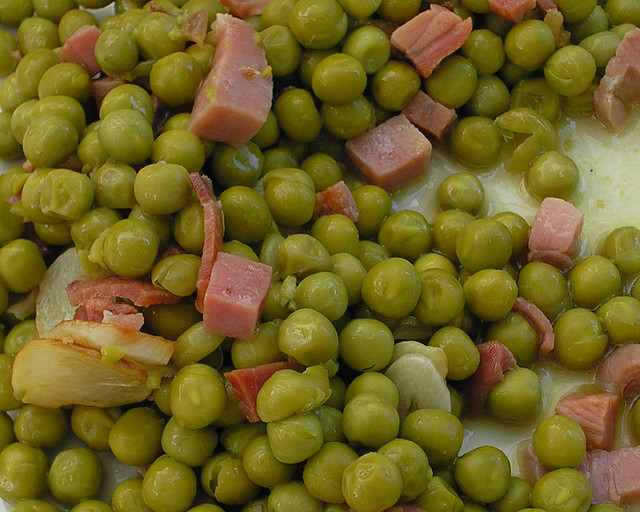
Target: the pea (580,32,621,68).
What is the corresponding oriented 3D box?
[{"bbox_3d":[0.953,-0.701,2.841,0.126,0.105,0.069,-28,84,15],"label":"pea"}]
